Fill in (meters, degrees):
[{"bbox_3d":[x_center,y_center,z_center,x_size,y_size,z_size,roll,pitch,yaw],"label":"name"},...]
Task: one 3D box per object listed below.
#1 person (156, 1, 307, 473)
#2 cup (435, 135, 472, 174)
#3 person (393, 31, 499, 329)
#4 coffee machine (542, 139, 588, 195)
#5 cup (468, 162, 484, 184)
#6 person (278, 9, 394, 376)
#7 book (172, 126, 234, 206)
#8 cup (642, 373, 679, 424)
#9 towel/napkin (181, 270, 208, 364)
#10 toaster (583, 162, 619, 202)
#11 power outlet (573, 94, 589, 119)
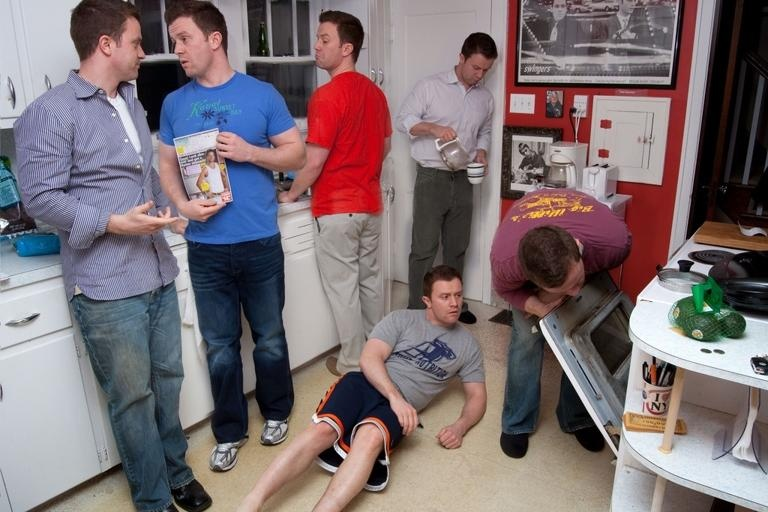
[{"bbox_3d":[-0.808,0.098,3.147,0.840,2.809,0.680,-11,22,-27],"label":"person"},{"bbox_3d":[0.491,-0.714,3.787,0.248,0.243,0.134,-7,18,-17],"label":"cup"},{"bbox_3d":[0.501,-0.535,4.031,0.852,2.170,0.650,-6,17,-29],"label":"person"},{"bbox_3d":[1.251,-0.619,3.735,0.232,0.367,0.246,-1,29,5],"label":"coffee machine"},{"bbox_3d":[0.646,-0.587,3.814,0.124,0.121,0.130,-1,12,0],"label":"cup"},{"bbox_3d":[-0.295,-0.378,3.536,0.546,2.247,0.730,10,14,39],"label":"person"},{"bbox_3d":[-0.845,-0.416,2.562,0.213,0.370,0.013,-20,32,-30],"label":"book"},{"bbox_3d":[1.074,0.563,2.151,0.146,0.164,0.142,1,7,0],"label":"cup"},{"bbox_3d":[-0.989,0.355,2.913,0.097,0.523,0.129,-10,22,-21],"label":"towel/napkin"},{"bbox_3d":[1.438,-0.534,3.649,0.156,0.230,0.303,7,31,24],"label":"toaster"},{"bbox_3d":[1.368,-1.044,3.760,0.110,0.152,0.087,6,18,22],"label":"power outlet"}]
